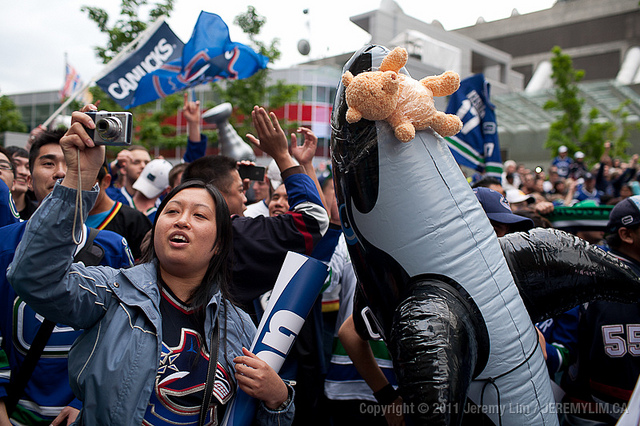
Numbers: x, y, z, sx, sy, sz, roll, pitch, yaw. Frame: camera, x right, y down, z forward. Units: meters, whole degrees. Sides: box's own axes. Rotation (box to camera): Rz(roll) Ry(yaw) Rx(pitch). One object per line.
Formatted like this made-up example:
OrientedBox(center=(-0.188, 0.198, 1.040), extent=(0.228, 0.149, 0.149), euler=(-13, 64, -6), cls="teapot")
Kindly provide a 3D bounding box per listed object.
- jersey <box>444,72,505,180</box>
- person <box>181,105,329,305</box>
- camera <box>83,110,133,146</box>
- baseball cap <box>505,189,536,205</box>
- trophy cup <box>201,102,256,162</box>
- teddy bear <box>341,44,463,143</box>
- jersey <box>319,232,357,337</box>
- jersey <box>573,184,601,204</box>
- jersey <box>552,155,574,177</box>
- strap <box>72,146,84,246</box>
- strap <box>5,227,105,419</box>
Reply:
OrientedBox(center=(1.845, -1.221, 8.716), extent=(1.044, 2.047, 1.307), euler=(1, 1, 4), cls="jersey")
OrientedBox(center=(-0.441, 0.091, 5.117), extent=(1.095, 1.745, 0.675), euler=(-7, -5, -5), cls="person")
OrientedBox(center=(-1.345, -0.536, 3.825), extent=(0.300, 0.246, 0.182), euler=(2, -1, 9), cls="camera")
OrientedBox(center=(2.658, -0.226, 8.254), extent=(0.274, 0.140, 0.422), euler=(-1, 3, -22), cls="baseball cap")
OrientedBox(center=(-1.340, -1.064, 9.230), extent=(0.496, 1.010, 0.452), euler=(-25, 11, 5), cls="trophy cup")
OrientedBox(center=(0.509, -0.776, 3.870), extent=(0.719, 0.317, 0.637), euler=(-6, 28, 28), cls="teddy bear")
OrientedBox(center=(0.208, 0.635, 5.538), extent=(0.249, 0.888, 0.348), euler=(-5, -12, -21), cls="jersey")
OrientedBox(center=(5.949, -0.462, 13.685), extent=(0.512, 0.324, 0.915), euler=(8, 7, 22), cls="jersey")
OrientedBox(center=(6.788, -1.300, 17.156), extent=(0.716, 0.395, 0.714), euler=(-3, 45, 16), cls="jersey")
OrientedBox(center=(-1.475, -0.109, 3.756), extent=(0.053, 0.587, 0.103), euler=(3, 6, -19), cls="strap")
OrientedBox(center=(-1.789, 0.778, 4.096), extent=(0.161, 1.538, 0.174), euler=(31, 11, 12), cls="strap")
